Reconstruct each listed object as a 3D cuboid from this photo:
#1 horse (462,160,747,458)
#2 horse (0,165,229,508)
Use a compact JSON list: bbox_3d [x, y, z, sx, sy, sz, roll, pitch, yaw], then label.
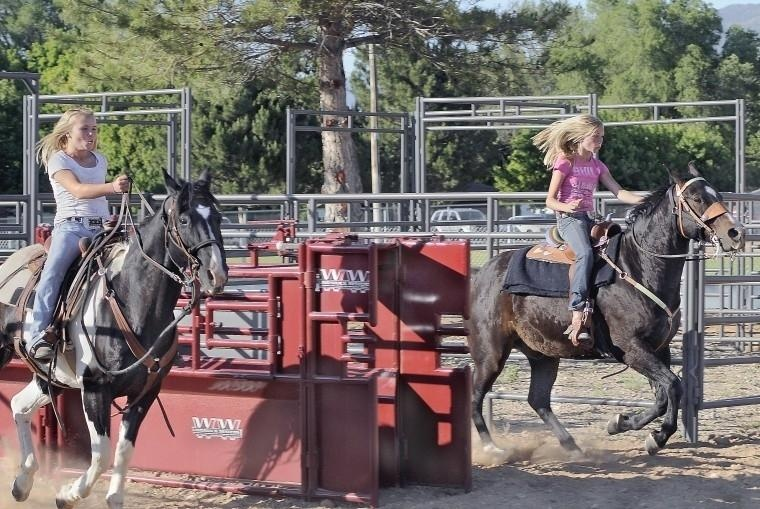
[{"bbox_3d":[3.464,1.194,22.579,1.752,4.114,5.665,10,-12,-42],"label":"horse"},{"bbox_3d":[-3.864,1.253,20.851,3.617,4.902,0.860,-2,5,14],"label":"horse"}]
